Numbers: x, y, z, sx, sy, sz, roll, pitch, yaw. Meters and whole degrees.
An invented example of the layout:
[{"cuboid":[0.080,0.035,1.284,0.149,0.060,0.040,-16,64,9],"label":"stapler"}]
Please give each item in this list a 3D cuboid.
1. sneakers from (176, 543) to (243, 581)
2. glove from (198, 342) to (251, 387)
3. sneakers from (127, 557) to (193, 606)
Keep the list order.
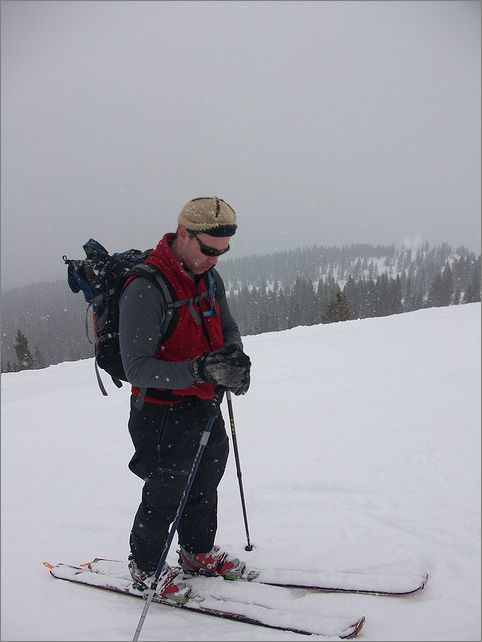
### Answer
[{"cuboid":[-0.247,1.996,5.888,0.572,0.326,0.230,1,6,3],"label":"sneakers"},{"cuboid":[-0.137,0.348,5.206,0.465,0.321,0.170,-3,6,-37],"label":"glove"},{"cuboid":[-0.644,2.103,5.673,0.539,0.304,0.256,16,29,5],"label":"sneakers"}]
